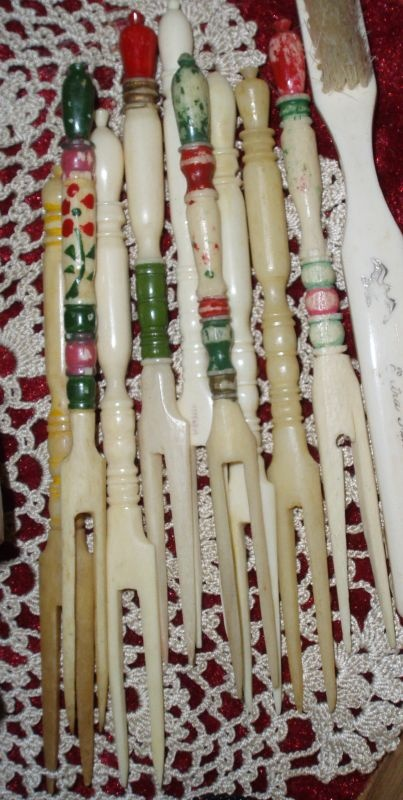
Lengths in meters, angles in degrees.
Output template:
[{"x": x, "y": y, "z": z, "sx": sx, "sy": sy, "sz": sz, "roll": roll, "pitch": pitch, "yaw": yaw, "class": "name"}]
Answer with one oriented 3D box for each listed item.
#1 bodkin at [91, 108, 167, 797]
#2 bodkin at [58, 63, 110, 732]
[{"x": -0.045, "y": 0.041, "z": 0.749, "sx": 0.094, "sy": 0.101, "sz": 0.530, "roll": -6, "pitch": 103, "yaw": -8, "class": "bodkin"}, {"x": -0.111, "y": -0.014, "z": 0.756, "sx": 0.041, "sy": 0.300, "sz": 0.535, "roll": -1, "pitch": 59, "yaw": -7, "class": "bodkin"}]
